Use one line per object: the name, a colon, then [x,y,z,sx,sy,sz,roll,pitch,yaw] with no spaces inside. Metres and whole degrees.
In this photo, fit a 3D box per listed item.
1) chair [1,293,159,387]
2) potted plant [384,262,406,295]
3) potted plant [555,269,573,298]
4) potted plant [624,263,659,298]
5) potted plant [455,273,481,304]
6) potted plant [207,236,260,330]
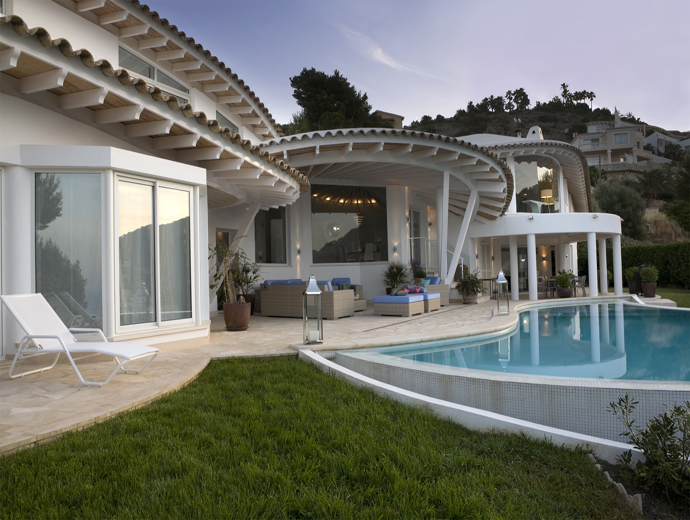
chair: [-3.629,1.043,7.244,2.127,1.431,1.142,1,-1,15]
potted plant: [1.870,0.646,19.082,0.909,1.387,0.929,-3,-8,43]
potted plant: [8.915,0.971,21.264,0.793,1.364,0.849,2,-4,-3]
potted plant: [11.935,0.762,20.664,1.108,1.654,1.526,0,-3,13]
potted plant: [4.568,1.087,19.362,0.897,1.022,0.962,-3,-5,26]
potted plant: [-2.407,0.722,11.653,0.733,1.357,1.045,-2,-6,-18]
